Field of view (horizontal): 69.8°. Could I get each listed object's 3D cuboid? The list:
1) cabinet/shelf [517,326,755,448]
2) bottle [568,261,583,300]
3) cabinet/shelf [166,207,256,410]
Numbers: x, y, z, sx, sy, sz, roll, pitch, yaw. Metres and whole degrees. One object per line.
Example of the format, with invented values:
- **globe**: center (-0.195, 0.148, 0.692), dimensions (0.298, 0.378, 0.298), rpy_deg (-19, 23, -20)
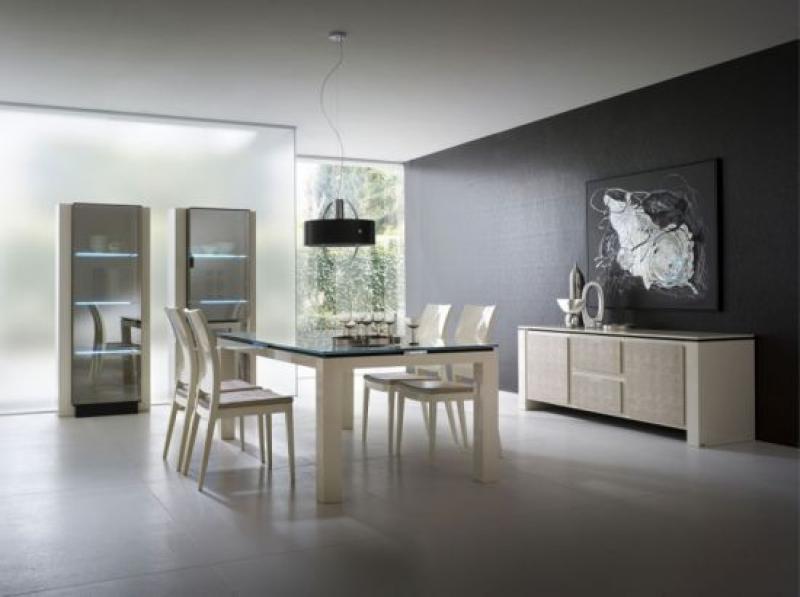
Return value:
- **cabinet/shelf**: center (2.200, 0.800, 5.840), dimensions (0.672, 0.973, 2.329), rpy_deg (-1, -1, -27)
- **bottle**: center (1.957, -0.210, 6.324), dimensions (0.140, 0.420, 0.568), rpy_deg (0, 1, 19)
- **cabinet/shelf**: center (-2.145, 0.019, 6.650), dimensions (0.760, 2.081, 0.479), rpy_deg (1, 3, -26)
